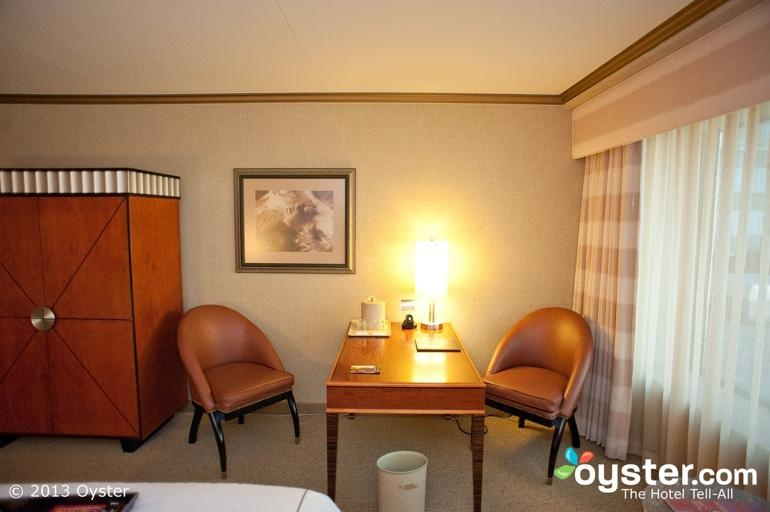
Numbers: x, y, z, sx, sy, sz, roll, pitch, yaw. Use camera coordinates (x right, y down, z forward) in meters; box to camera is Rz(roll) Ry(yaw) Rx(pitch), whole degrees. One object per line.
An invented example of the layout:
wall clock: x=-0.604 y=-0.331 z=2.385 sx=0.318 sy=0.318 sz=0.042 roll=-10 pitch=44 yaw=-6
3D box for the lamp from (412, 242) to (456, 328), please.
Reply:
lamp: x=0.445 y=0.262 z=5.453 sx=0.343 sy=0.858 sz=0.401 roll=4 pitch=3 yaw=4

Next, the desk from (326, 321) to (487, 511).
desk: x=0.182 y=1.284 z=4.778 sx=1.236 sy=0.906 sz=1.848 roll=0 pitch=4 yaw=1

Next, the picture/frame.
picture/frame: x=-0.877 y=-0.407 z=5.593 sx=1.146 sy=0.910 sz=0.084 roll=1 pitch=2 yaw=-2

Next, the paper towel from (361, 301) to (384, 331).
paper towel: x=-0.117 y=0.569 z=5.259 sx=0.261 sy=0.276 sz=0.255 roll=0 pitch=-3 yaw=1
